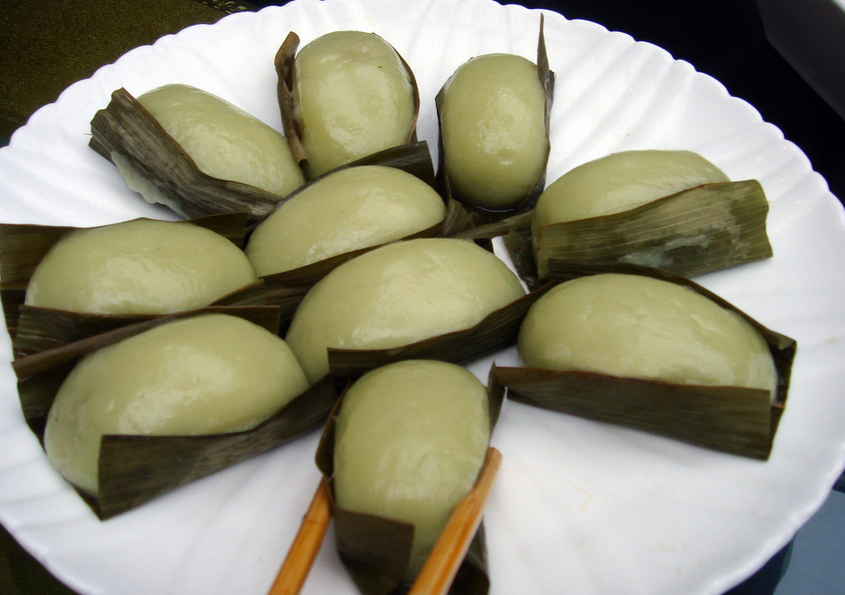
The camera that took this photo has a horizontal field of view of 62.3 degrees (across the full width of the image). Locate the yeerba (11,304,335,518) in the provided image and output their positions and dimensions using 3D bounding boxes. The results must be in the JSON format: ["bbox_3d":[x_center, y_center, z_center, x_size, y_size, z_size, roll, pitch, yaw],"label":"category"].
[{"bbox_3d":[-0.275,0.103,0.809,0.237,0.360,0.130,52,122,15],"label":"yeerba"}]

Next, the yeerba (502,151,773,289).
[{"bbox_3d":[0.276,-0.111,0.875,0.231,0.086,0.173,-12,54,-3],"label":"yeerba"}]

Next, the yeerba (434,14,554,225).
[{"bbox_3d":[0.093,-0.231,0.980,0.146,0.139,0.275,-4,73,0],"label":"yeerba"}]

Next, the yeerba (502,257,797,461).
[{"bbox_3d":[0.256,0.044,0.837,0.326,0.117,0.206,10,60,30],"label":"yeerba"}]

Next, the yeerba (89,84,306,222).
[{"bbox_3d":[-0.292,-0.155,0.931,0.231,0.092,0.159,-17,67,20],"label":"yeerba"}]

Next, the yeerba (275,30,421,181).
[{"bbox_3d":[-0.104,-0.289,1.014,0.224,0.281,0.160,0,74,3],"label":"yeerba"}]

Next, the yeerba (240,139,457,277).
[{"bbox_3d":[-0.092,-0.102,0.844,0.220,0.082,0.125,-24,36,-7],"label":"yeerba"}]
